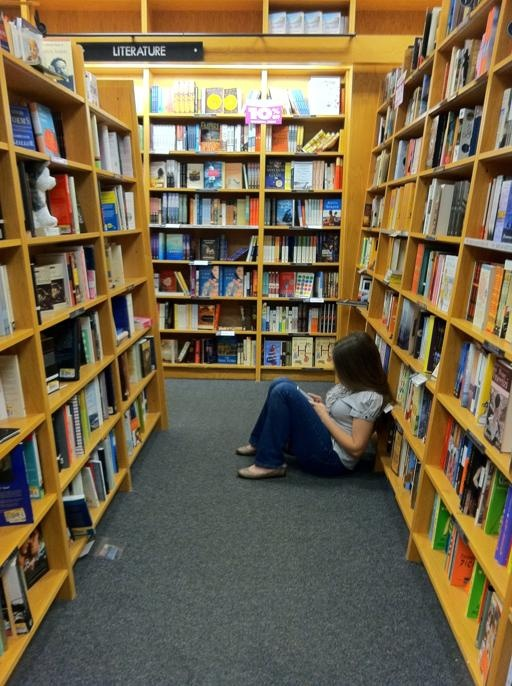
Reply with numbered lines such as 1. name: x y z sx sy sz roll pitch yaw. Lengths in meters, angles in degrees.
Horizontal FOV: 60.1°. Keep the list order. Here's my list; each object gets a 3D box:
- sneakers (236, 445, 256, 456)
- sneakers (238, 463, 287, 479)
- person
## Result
1. sneakers: -0.066 0.680 2.845 0.137 0.066 0.053 2 8 3
2. sneakers: 0.043 0.713 2.586 0.258 0.098 0.102 4 2 -4
3. person: 0.322 0.344 2.582 0.772 0.874 0.543 12 2 6
